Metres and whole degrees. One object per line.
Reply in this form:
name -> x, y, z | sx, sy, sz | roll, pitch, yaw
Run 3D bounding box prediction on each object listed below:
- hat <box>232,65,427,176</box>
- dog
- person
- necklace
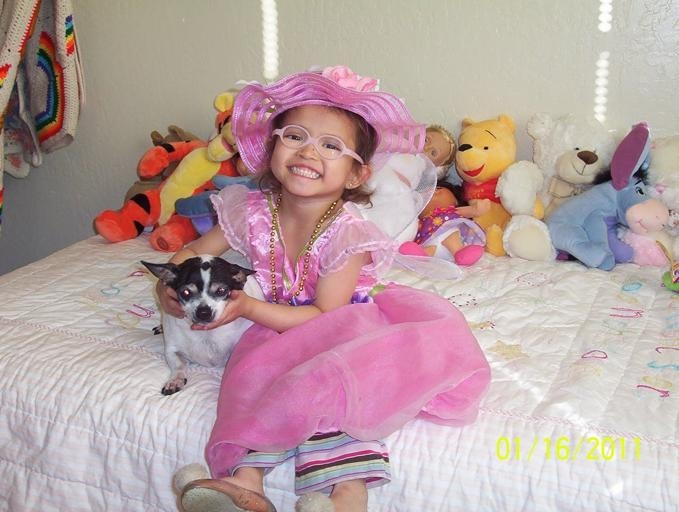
hat -> -0.074, -0.410, 1.428 | 0.370, 0.375, 0.098 | -5, 57, 18
dog -> -0.298, 0.129, 1.335 | 0.252, 0.272, 0.351 | 5, 26, -5
person -> 0.046, -0.040, 1.413 | 0.743, 0.635, 1.089 | 1, 25, -2
necklace -> -0.104, -0.014, 1.447 | 0.166, 0.281, 0.023 | 4, -12, 26
